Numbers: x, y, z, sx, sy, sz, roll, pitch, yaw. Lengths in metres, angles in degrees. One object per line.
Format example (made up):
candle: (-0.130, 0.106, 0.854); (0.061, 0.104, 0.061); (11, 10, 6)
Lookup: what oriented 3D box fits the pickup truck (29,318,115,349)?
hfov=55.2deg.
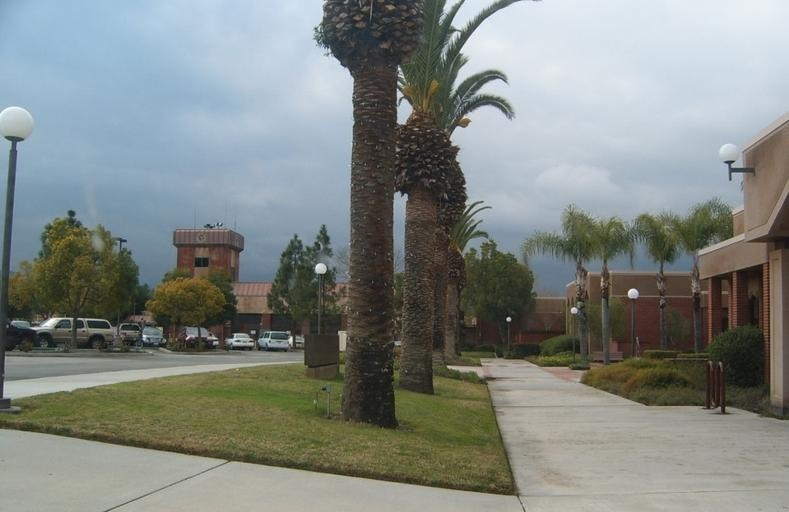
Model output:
pickup truck: (-18.457, 4.429, 43.821); (3.500, 1.347, 2.015); (10, -14, -36)

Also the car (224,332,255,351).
car: (-12.563, 6.999, 61.205); (1.193, 0.968, 2.877); (1, -1, -19)

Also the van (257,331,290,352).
van: (-9.811, 6.871, 60.728); (1.416, 1.098, 2.844); (2, 0, -20)
